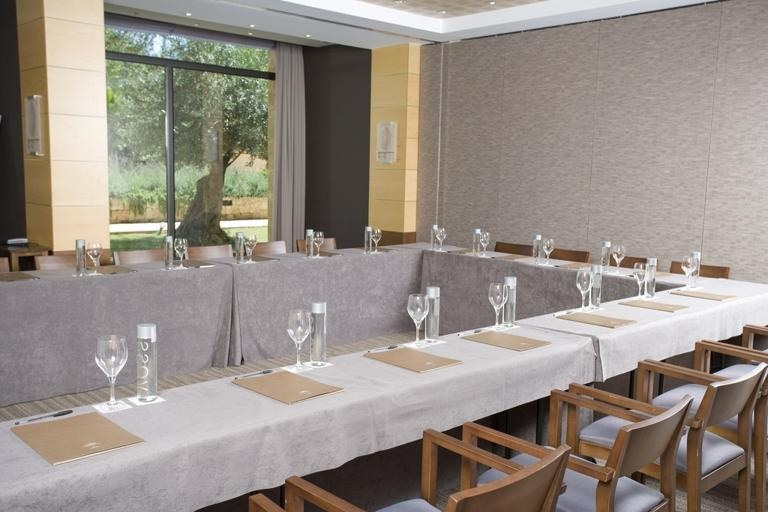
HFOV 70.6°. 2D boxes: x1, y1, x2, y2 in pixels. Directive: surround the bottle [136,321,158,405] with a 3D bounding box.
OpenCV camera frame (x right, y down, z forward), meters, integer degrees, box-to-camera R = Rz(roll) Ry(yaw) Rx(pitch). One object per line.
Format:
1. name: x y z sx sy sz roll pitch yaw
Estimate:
1. bottle: -1.037 0.467 2.361 0.094 0.354 0.076 -5 15 -24
